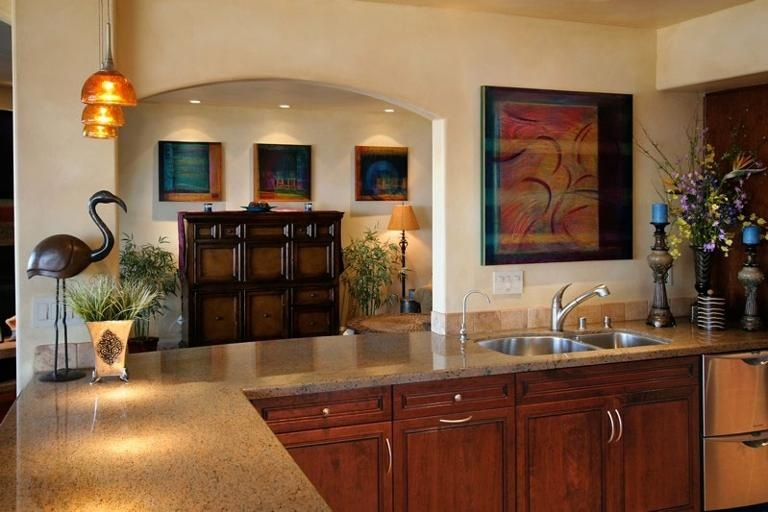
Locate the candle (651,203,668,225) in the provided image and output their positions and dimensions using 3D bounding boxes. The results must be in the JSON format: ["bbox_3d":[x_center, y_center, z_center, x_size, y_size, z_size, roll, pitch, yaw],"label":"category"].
[{"bbox_3d":[1.944,-0.304,4.194,0.104,0.134,0.142,6,14,20],"label":"candle"}]

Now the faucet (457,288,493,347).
[{"bbox_3d":[0.595,0.361,3.931,0.207,0.354,0.427,4,13,10],"label":"faucet"}]

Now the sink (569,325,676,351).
[{"bbox_3d":[1.540,0.561,4.037,0.309,0.104,0.244,-4,9,-22],"label":"sink"}]

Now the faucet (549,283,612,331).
[{"bbox_3d":[1.321,0.335,4.000,0.107,0.301,0.468,-2,-8,-39],"label":"faucet"}]

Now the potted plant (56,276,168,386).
[{"bbox_3d":[-1.421,0.408,3.422,0.629,0.597,0.538,1,-5,-8],"label":"potted plant"}]

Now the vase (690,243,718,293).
[{"bbox_3d":[2.300,0.090,4.328,0.150,0.355,0.284,8,15,25],"label":"vase"}]

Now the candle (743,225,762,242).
[{"bbox_3d":[2.510,-0.157,4.115,0.121,0.120,0.114,2,-4,-7],"label":"candle"}]

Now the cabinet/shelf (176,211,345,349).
[{"bbox_3d":[-1.498,0.236,6.936,1.872,1.592,0.683,0,1,-17],"label":"cabinet/shelf"}]

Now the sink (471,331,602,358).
[{"bbox_3d":[1.019,0.590,3.998,0.413,0.138,0.310,1,-1,-23],"label":"sink"}]

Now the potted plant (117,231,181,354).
[{"bbox_3d":[-2.942,0.529,7.301,0.779,1.440,0.948,4,-6,-1],"label":"potted plant"}]

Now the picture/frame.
[{"bbox_3d":[1.159,-0.586,4.162,1.445,1.270,0.053,-1,3,-19],"label":"picture/frame"}]
